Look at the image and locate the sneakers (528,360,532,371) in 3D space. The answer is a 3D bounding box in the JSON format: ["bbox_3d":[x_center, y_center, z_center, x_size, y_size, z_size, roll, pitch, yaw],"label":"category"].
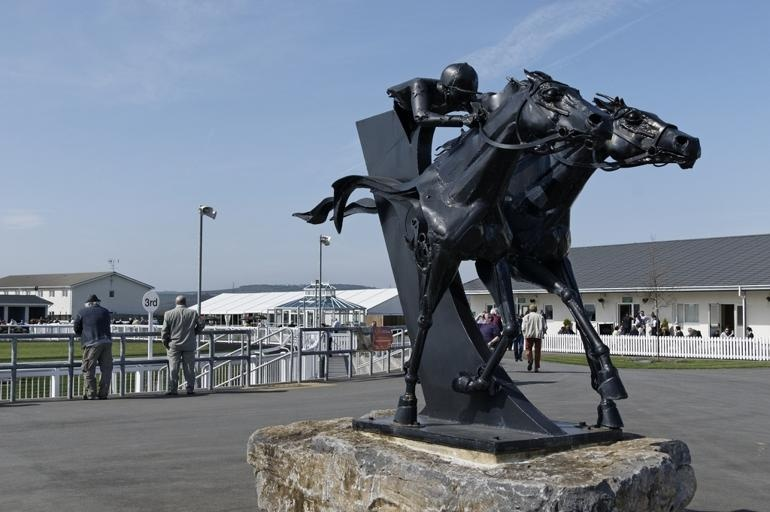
[{"bbox_3d":[4.071,3.098,28.038,0.123,0.325,0.235,-2,1,10],"label":"sneakers"}]

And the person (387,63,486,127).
[{"bbox_3d":[0.845,-2.248,13.896,1.379,0.807,1.527,-1,14,-40],"label":"person"}]

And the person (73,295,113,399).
[{"bbox_3d":[-6.396,1.996,21.894,0.788,2.353,0.933,-2,-8,-15],"label":"person"}]

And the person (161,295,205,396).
[{"bbox_3d":[-4.581,1.987,22.547,0.918,2.318,1.306,-2,-8,-11],"label":"person"}]

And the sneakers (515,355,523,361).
[{"bbox_3d":[4.356,3.377,32.544,0.226,0.169,0.208,1,-8,10],"label":"sneakers"}]
